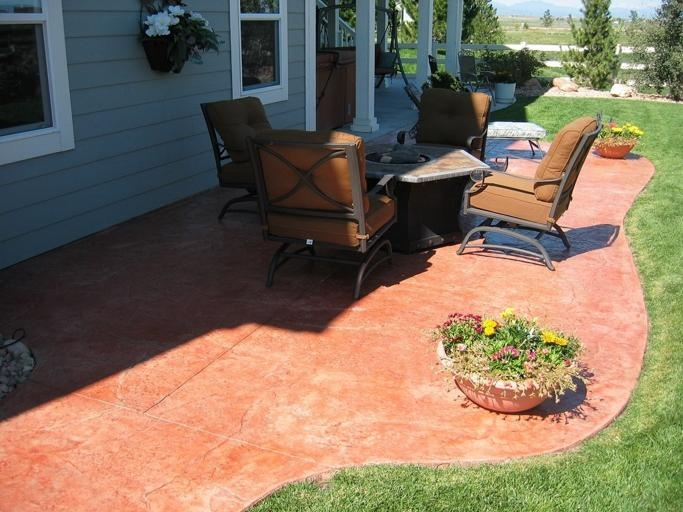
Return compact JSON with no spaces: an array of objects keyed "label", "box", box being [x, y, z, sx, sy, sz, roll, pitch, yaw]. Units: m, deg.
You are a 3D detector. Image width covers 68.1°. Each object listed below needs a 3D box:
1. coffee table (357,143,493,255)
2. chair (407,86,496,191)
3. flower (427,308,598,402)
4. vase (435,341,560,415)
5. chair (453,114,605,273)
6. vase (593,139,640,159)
[{"label":"coffee table","box":[0.900,-0.545,5.393,1.330,0.756,1.179,15,39,26]},{"label":"chair","box":[1.473,-1.657,6.707,1.157,1.288,1.206,12,33,17]},{"label":"flower","box":[0.994,0.515,2.957,0.604,0.250,0.595,23,43,36]},{"label":"vase","box":[0.858,0.715,2.830,0.461,0.136,0.430,0,6,-20]},{"label":"chair","box":[1.796,-0.639,4.866,1.010,1.367,0.682,11,25,23]},{"label":"vase","box":[4.523,-1.787,8.413,0.434,0.177,0.409,-16,27,-29]}]
